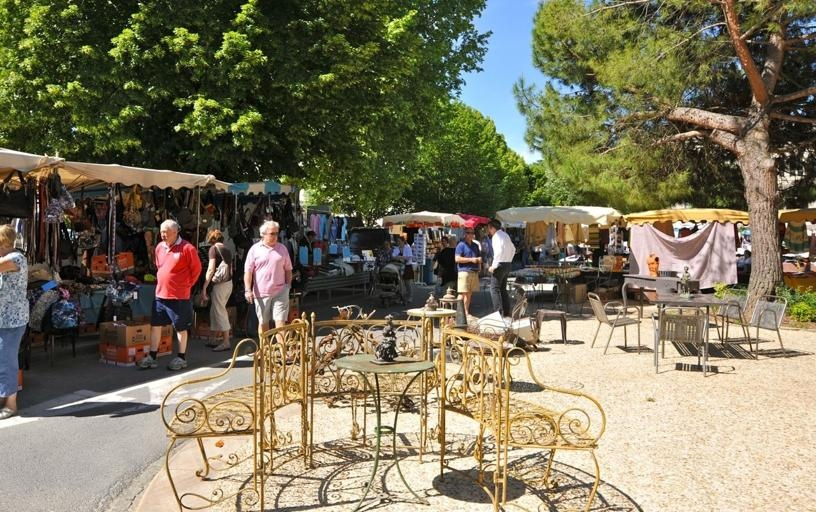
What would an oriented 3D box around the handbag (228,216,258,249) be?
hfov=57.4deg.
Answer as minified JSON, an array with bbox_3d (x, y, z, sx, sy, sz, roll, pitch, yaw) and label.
[{"bbox_3d":[-4.034,-0.594,18.214,0.626,0.492,1.177,8,32,-11],"label":"handbag"}]

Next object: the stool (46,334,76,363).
[{"bbox_3d":[-7.225,1.870,15.475,0.617,0.611,0.647,0,-2,13],"label":"stool"}]

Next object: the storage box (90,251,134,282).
[{"bbox_3d":[-6.666,0.228,16.497,0.716,0.448,0.718,0,3,15],"label":"storage box"}]

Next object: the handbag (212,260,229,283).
[{"bbox_3d":[-3.905,0.305,15.441,0.403,0.435,0.215,3,-12,-11],"label":"handbag"}]

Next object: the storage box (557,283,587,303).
[{"bbox_3d":[4.792,1.039,21.992,0.647,0.421,0.667,-1,0,35],"label":"storage box"}]

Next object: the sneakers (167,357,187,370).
[{"bbox_3d":[-4.523,2.123,14.605,0.188,0.154,0.339,-1,-6,9],"label":"sneakers"}]

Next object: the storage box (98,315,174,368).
[{"bbox_3d":[-5.551,1.733,15.241,1.001,0.625,1.022,2,2,23],"label":"storage box"}]

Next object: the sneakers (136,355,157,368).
[{"bbox_3d":[-5.118,2.090,14.663,0.383,0.186,0.192,6,37,-54],"label":"sneakers"}]

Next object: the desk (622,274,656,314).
[{"bbox_3d":[6.396,1.040,20.587,0.812,1.027,1.105,1,1,-2],"label":"desk"}]

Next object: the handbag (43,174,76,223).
[{"bbox_3d":[-7.130,-1.167,15.109,0.489,0.986,0.650,-1,2,-10],"label":"handbag"}]
